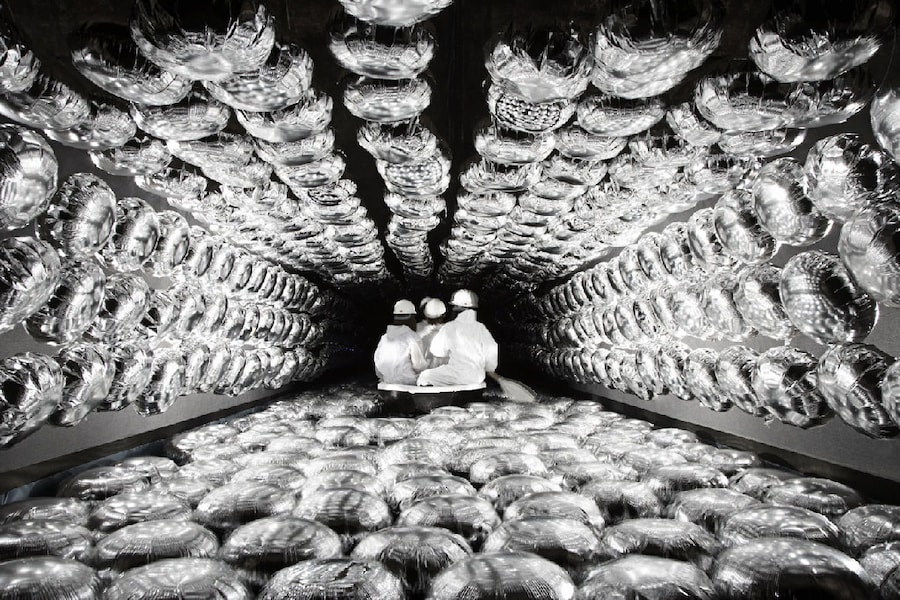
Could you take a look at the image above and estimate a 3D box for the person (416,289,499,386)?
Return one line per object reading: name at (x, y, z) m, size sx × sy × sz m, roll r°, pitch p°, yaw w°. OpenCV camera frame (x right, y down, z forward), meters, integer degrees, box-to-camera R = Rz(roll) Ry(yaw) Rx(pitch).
person at (0.079, 0.334, 5.137) m, size 0.660 × 0.551 × 0.758 m, roll 2°, pitch -91°, yaw -18°
